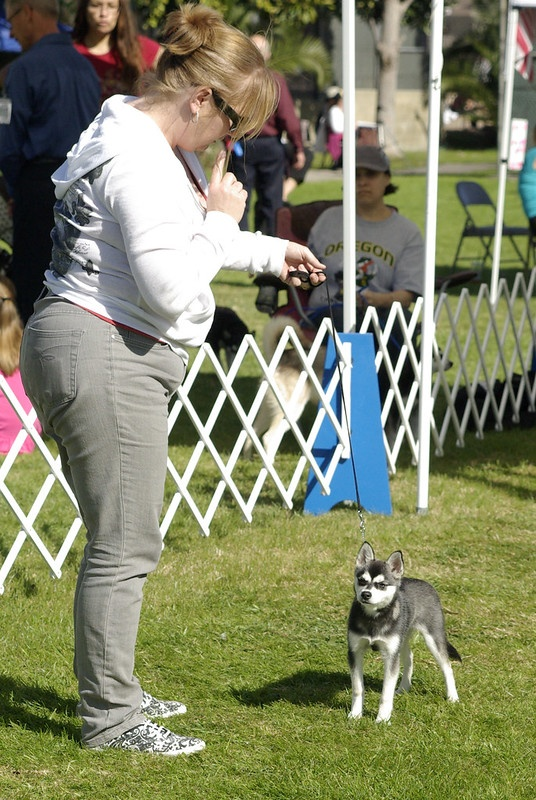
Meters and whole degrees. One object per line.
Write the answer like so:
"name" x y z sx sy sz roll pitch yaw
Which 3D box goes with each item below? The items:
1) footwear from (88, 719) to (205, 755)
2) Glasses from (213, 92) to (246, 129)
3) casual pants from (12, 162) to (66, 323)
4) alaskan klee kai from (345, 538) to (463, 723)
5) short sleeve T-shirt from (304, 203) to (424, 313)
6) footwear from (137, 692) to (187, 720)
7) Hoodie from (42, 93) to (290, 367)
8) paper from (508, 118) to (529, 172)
"footwear" -0.339 0.913 3.608 0.297 0.101 0.109 -1 7 -13
"Glasses" -0.104 -0.746 3.379 0.021 0.079 0.057 -42 20 -5
"casual pants" -1.171 -0.865 6.789 0.146 0.632 0.160 0 -5 37
"alaskan klee kai" 0.397 0.675 3.870 0.249 0.541 0.394 10 17 39
"short sleeve T-shirt" 0.455 -0.661 6.622 0.622 0.609 0.352 12 22 10
"footwear" -0.317 0.911 3.864 0.175 0.072 0.065 2 7 -23
"Hoodie" -0.244 -0.458 3.498 0.686 0.640 0.533 11 13 -14
"paper" 1.298 -1.326 6.776 0.121 0.256 0.050 3 5 -29
